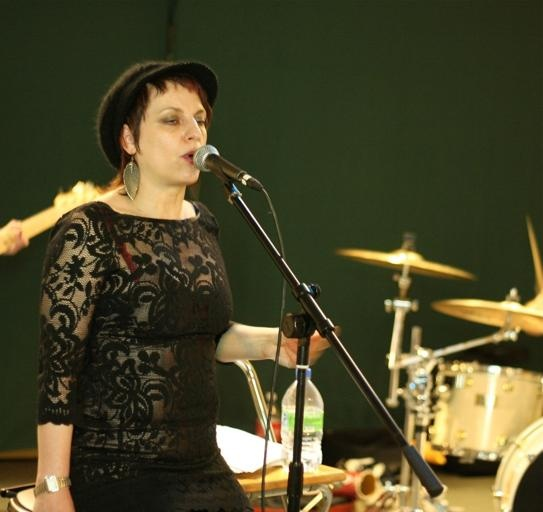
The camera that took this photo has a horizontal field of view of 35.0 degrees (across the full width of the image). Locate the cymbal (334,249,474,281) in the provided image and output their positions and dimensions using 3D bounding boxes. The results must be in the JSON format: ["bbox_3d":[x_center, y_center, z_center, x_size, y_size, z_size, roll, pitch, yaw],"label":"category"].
[{"bbox_3d":[0.673,0.044,4.633,0.337,0.075,0.329,13,-4,-5],"label":"cymbal"}]

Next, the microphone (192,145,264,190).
[{"bbox_3d":[-0.120,-0.276,2.812,0.096,0.087,0.312,-10,27,-42],"label":"microphone"}]

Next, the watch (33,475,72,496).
[{"bbox_3d":[-0.618,0.712,2.718,0.096,0.051,0.089,-1,-21,-30],"label":"watch"}]
